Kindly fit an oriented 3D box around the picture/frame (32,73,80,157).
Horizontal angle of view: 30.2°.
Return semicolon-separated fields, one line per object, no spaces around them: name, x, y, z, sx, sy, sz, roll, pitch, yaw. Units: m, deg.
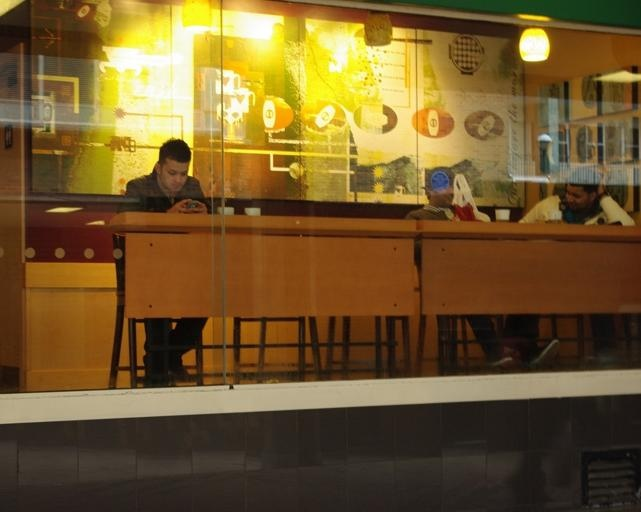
picture/frame;-1.419;-0.758;6.357;0.356;0.384;0.090;2;4;-2

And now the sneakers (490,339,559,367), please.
sneakers;1.188;0.563;6.859;0.438;0.220;0.153;0;-5;-3

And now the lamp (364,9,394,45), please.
lamp;0.321;-1.270;6.737;0.148;0.229;0.115;-1;-25;0

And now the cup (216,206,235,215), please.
cup;-0.528;-0.246;6.512;0.058;0.048;0.058;2;3;0

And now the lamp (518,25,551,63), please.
lamp;1.220;-1.205;6.819;0.169;0.197;0.184;0;-2;-13

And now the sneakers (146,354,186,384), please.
sneakers;-0.847;0.625;6.388;0.179;0.151;0.143;1;-7;-14

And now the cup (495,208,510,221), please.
cup;1.036;-0.232;6.796;0.066;0.074;0.069;1;3;0
